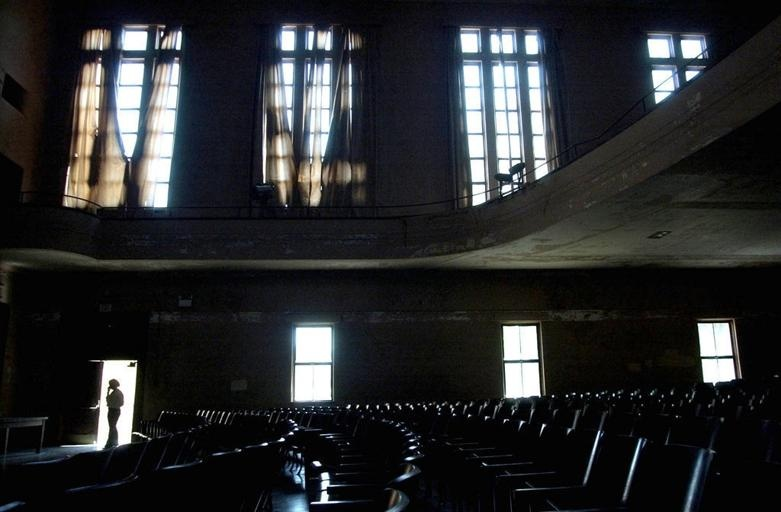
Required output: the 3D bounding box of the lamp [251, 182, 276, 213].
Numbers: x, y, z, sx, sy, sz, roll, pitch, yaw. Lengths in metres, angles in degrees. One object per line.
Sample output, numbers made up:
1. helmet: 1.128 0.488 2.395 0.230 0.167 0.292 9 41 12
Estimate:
1. lamp: -4.442 -2.071 26.396 0.836 1.179 1.364 4 -13 -9
